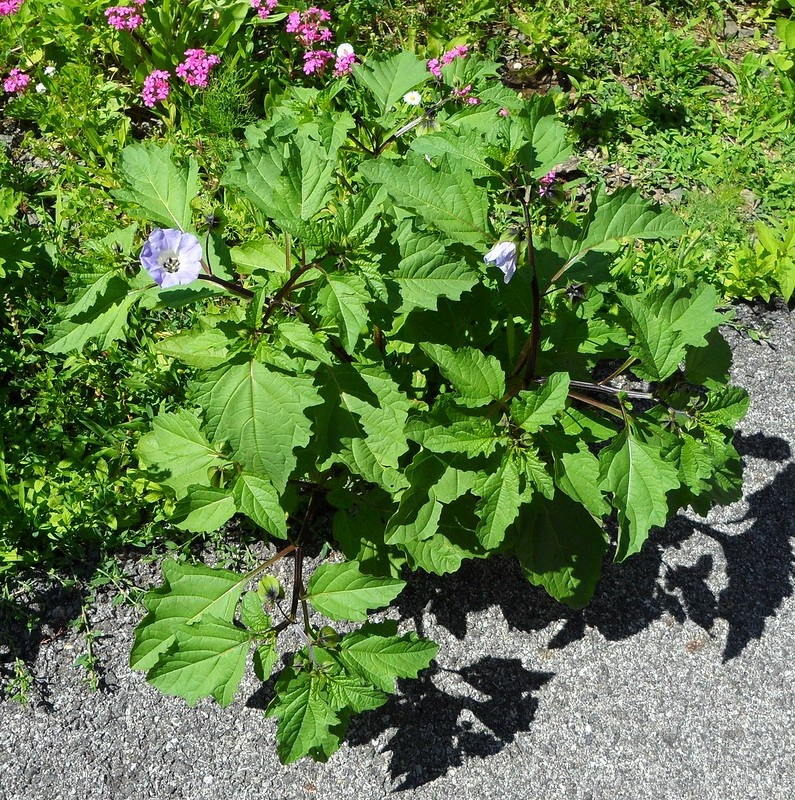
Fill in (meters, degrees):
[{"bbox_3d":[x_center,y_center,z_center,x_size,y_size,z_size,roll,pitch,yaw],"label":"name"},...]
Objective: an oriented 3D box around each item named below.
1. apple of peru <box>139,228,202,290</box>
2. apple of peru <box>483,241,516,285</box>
[{"bbox_3d":[-0.603,-0.382,1.848,0.162,0.082,0.164,19,87,-6],"label":"apple of peru"},{"bbox_3d":[0.292,-0.371,1.919,0.084,0.148,0.121,1,51,7],"label":"apple of peru"}]
